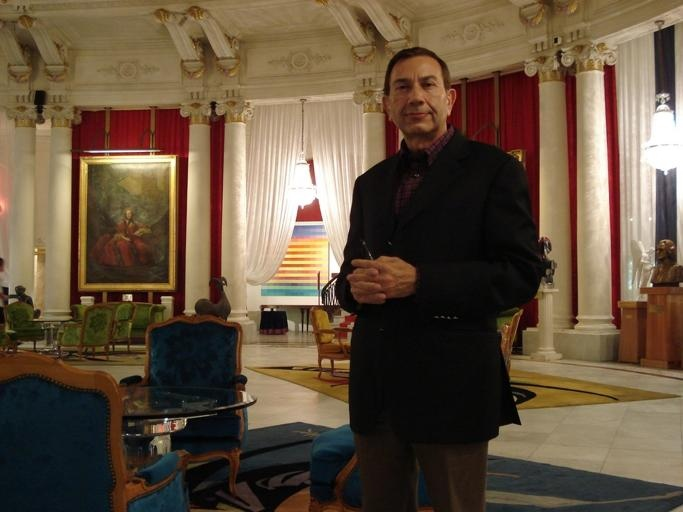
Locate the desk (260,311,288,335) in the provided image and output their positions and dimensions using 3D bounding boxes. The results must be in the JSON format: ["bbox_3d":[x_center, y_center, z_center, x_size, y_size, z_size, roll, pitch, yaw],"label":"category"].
[{"bbox_3d":[-1.690,1.581,15.617,0.658,0.553,0.527,-1,-1,-8],"label":"desk"}]

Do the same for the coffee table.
[{"bbox_3d":[-0.953,0.820,3.638,0.770,0.299,0.848,2,-5,-22],"label":"coffee table"}]

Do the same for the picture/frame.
[{"bbox_3d":[-4.195,-0.585,12.792,2.652,3.461,0.129,0,-1,8],"label":"picture/frame"}]

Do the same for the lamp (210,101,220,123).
[{"bbox_3d":[-2.358,-2.680,12.101,0.070,0.283,0.285,-6,-1,-40],"label":"lamp"}]

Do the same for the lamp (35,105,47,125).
[{"bbox_3d":[-5.814,-2.683,12.352,0.163,0.304,0.287,0,-1,-25],"label":"lamp"}]

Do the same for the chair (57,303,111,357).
[{"bbox_3d":[-4.160,1.191,10.468,0.829,0.880,1.690,0,-1,-24],"label":"chair"}]
